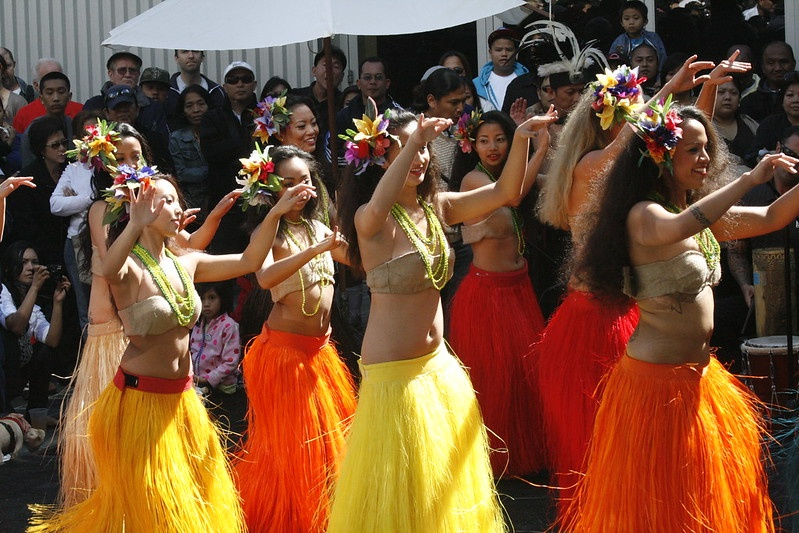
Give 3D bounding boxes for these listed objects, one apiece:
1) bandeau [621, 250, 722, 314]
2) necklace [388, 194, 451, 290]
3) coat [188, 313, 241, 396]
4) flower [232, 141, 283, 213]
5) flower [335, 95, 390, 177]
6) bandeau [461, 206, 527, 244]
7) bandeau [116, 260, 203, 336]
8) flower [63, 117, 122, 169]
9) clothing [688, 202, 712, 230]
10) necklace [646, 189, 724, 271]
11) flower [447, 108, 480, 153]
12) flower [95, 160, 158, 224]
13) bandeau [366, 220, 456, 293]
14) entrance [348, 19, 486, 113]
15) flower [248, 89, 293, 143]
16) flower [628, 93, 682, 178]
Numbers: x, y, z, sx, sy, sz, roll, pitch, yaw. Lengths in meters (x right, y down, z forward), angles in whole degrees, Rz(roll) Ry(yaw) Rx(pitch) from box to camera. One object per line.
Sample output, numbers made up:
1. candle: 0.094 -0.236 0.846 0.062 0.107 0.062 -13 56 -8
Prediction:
1. bandeau: 1.466 0.078 4.571 0.368 0.236 0.442 2 -11 -32
2. necklace: 0.079 -0.092 4.652 0.284 0.460 0.106 -5 -21 -45
3. coat: -1.568 0.714 7.176 0.516 0.603 0.379 5 5 26
4. flower: -0.845 -0.444 5.325 0.313 0.447 0.430 6 -8 -19
5. flower: -0.176 -0.664 4.697 0.339 0.374 0.166 5 7 -1
6. bandeau: 0.595 -0.265 5.771 0.301 0.177 0.238 -17 6 19
7. bandeau: -1.382 0.245 4.920 0.527 0.251 0.401 6 14 36
8. flower: -1.878 -0.724 5.427 0.391 0.242 0.243 -3 4 39
9. clothing: 1.446 -0.227 4.230 0.093 0.104 0.033 -4 4 16
10. necklace: 1.502 -0.179 4.625 0.419 0.131 0.323 36 59 25
11. flower: 0.456 -0.868 5.837 0.248 0.256 0.116 -31 -23 32
12. flower: -1.498 -0.393 4.890 0.270 0.250 0.367 -9 5 -44
13. bandeau: 0.004 -0.003 4.554 0.265 0.148 0.291 -16 3 41
14. entrance: 0.209 -1.995 9.138 1.251 0.888 0.733 -7 12 -1
15. flower: -0.862 -0.990 6.027 0.301 0.311 0.130 -25 -7 4
16. flower: 1.317 -0.647 4.526 0.270 0.396 0.213 -4 4 17
